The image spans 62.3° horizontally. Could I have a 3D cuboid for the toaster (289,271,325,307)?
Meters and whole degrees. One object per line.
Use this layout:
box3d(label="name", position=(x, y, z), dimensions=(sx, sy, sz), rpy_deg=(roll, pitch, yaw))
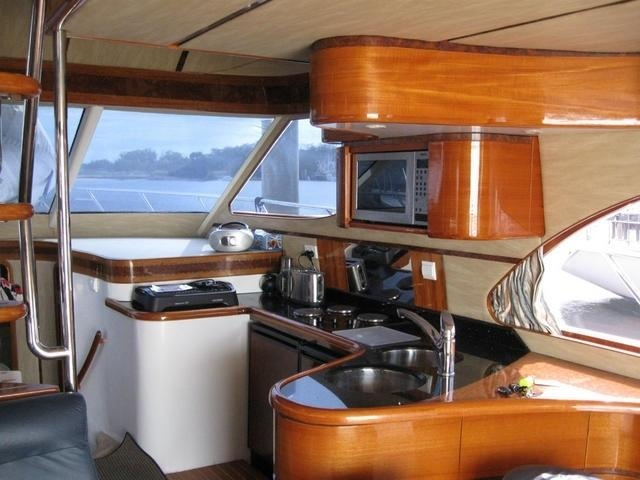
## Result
box3d(label="toaster", position=(-0.161, 0.320, 3.511), dimensions=(0.330, 0.194, 0.114), rpy_deg=(14, -21, -37))

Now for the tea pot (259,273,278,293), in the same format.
box3d(label="tea pot", position=(-0.369, 0.302, 3.799), dimensions=(0.183, 0.114, 0.147), rpy_deg=(1, 10, 3))

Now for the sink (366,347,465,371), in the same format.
box3d(label="sink", position=(0.452, 0.589, 2.620), dimensions=(0.297, 0.068, 0.218), rpy_deg=(0, 3, 8))
